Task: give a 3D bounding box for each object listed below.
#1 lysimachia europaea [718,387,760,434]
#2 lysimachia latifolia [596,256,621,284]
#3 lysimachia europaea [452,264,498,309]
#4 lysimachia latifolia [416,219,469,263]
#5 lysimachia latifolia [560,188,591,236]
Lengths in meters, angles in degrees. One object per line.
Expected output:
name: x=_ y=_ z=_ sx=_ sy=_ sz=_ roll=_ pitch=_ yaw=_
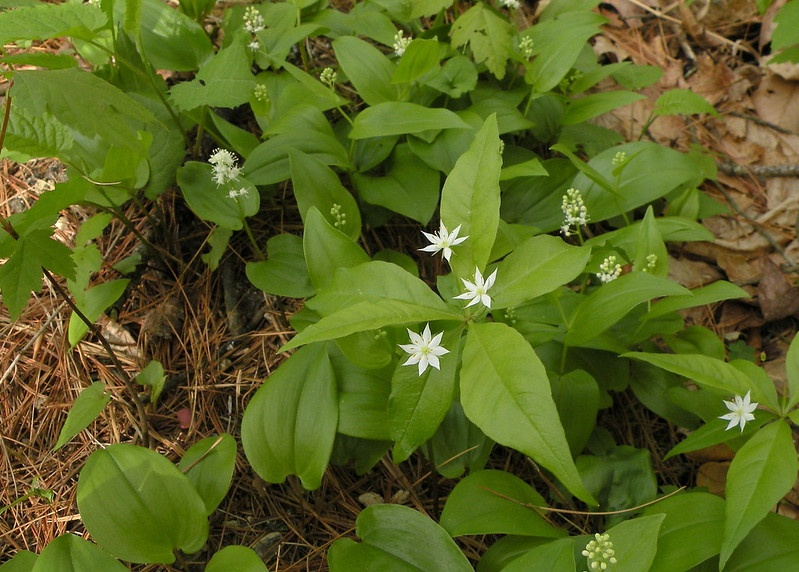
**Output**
lysimachia europaea: x=1.836 y=0.667 z=3.658 sx=0.070 sy=0.229 sz=0.215 roll=-27 pitch=85 yaw=-53
lysimachia latifolia: x=1.252 y=-0.060 z=4.053 sx=0.155 sy=0.084 sz=0.167 roll=-1 pitch=50 yaw=-10
lysimachia europaea: x=0.390 y=0.018 z=3.413 sx=0.175 sy=0.262 sz=0.228 roll=14 pitch=29 yaw=5
lysimachia latifolia: x=0.213 y=-0.229 z=3.458 sx=0.164 sy=0.204 sz=0.211 roll=-13 pitch=38 yaw=-37
lysimachia latifolia: x=1.129 y=-0.485 z=4.390 sx=0.166 sy=0.281 sz=0.272 roll=15 pitch=0 yaw=14
